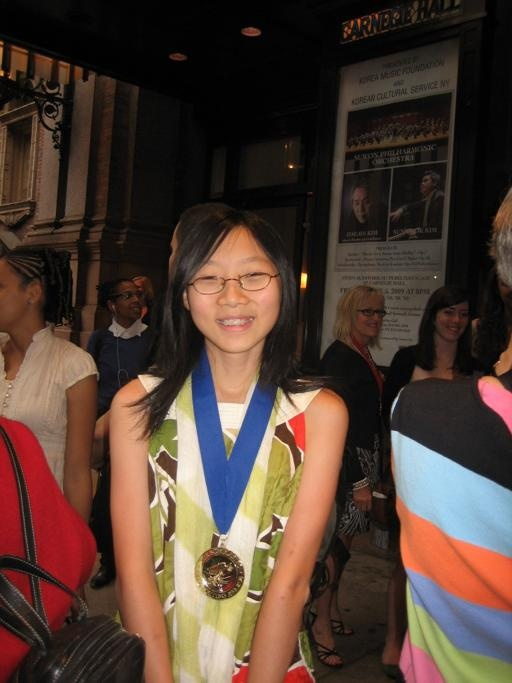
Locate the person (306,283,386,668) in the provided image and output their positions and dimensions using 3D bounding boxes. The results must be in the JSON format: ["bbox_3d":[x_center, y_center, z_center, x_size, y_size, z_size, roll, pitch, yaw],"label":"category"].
[{"bbox_3d":[0.602,0.742,3.357,0.627,2.022,0.567,4,5,10],"label":"person"}]
